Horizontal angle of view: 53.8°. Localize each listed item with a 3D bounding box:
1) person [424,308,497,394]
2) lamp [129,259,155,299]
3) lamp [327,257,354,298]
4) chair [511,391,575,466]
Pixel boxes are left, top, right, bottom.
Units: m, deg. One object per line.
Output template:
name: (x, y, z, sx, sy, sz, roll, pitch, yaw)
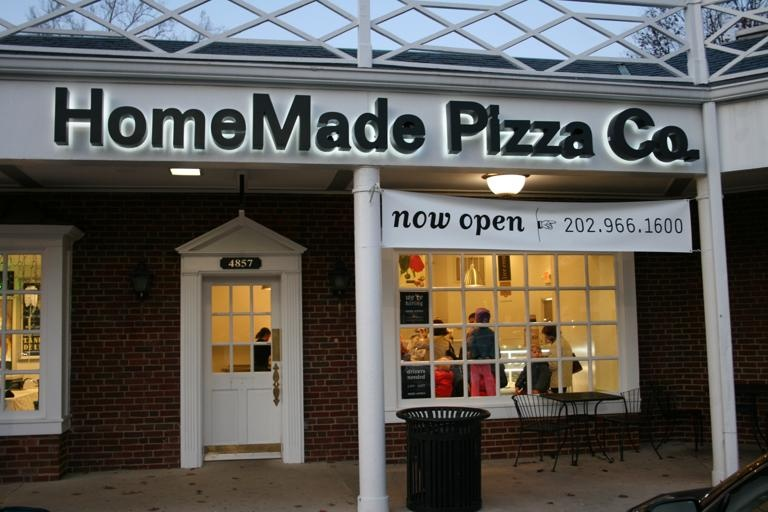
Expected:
person: (1.140, 1.532, 11.796, 1.391, 1.482, 0.403, 0, -1, -3)
lamp: (-3.594, 0.345, 11.278, 0.349, 0.591, 0.358, -8, -19, 10)
lamp: (-0.676, 0.317, 11.621, 0.389, 0.632, 0.382, -2, -11, 2)
chair: (2.343, 2.586, 11.563, 0.828, 0.978, 0.765, 1, 3, 27)
